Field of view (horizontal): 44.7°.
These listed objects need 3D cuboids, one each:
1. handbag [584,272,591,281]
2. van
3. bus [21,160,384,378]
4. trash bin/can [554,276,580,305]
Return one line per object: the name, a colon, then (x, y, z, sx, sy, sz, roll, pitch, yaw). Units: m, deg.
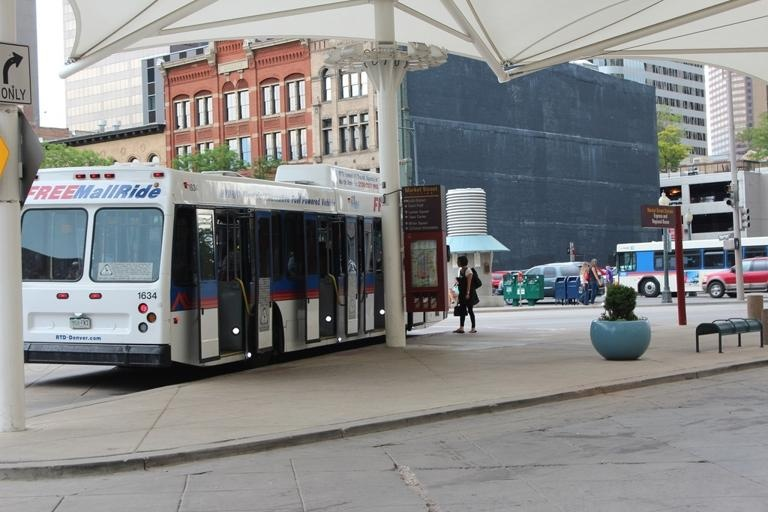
handbag: (9.135, 0.967, 42.281, 0.149, 0.382, 0.290, 7, -7, -27)
van: (9.008, 1.646, 50.210, 5.341, 1.754, 2.542, 1, 1, 23)
bus: (-3.809, 0.383, 19.532, 6.257, 2.796, 2.798, 6, 5, -38)
trash bin/can: (8.525, 1.679, 43.703, 0.798, 1.288, 1.429, -5, 7, -40)
